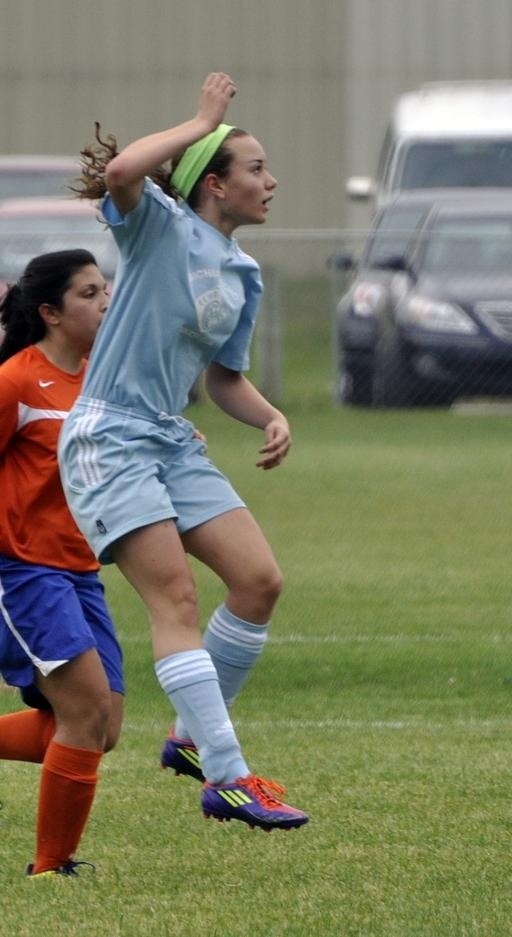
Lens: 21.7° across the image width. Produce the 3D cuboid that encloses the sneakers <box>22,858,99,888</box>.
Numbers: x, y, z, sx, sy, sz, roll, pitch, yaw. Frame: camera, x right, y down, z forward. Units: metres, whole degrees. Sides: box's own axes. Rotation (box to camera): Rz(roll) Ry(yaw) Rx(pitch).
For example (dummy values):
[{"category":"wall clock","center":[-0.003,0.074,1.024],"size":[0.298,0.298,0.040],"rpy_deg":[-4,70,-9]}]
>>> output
[{"category":"sneakers","center":[-0.389,0.792,2.650],"size":[0.134,0.045,0.048],"rpy_deg":[-10,-8,-13]}]

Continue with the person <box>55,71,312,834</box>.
[{"category":"person","center":[-0.077,-0.016,2.773],"size":[0.477,1.376,0.588],"rpy_deg":[2,7,24]}]

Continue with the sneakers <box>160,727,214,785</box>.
[{"category":"sneakers","center":[-0.163,0.651,2.995],"size":[0.167,0.087,0.057],"rpy_deg":[18,1,20]}]

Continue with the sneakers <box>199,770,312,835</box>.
[{"category":"sneakers","center":[-0.008,0.649,2.616],"size":[0.237,0.107,0.094],"rpy_deg":[4,8,20]}]
